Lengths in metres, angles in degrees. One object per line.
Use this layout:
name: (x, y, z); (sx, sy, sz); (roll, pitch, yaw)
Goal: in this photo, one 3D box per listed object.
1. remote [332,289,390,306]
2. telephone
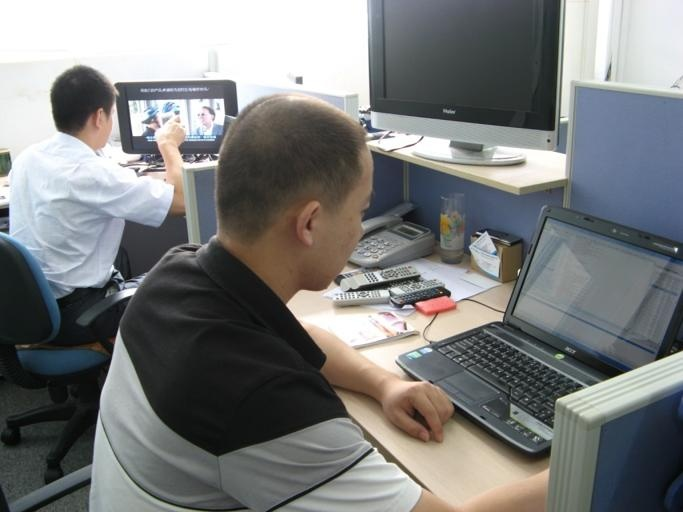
remote: (0.060, 0.115, 1.606); (0.152, 0.028, 0.066); (-3, 15, -7)
telephone: (0.186, -0.040, 1.859); (0.223, 0.079, 0.166); (-18, 26, -27)
